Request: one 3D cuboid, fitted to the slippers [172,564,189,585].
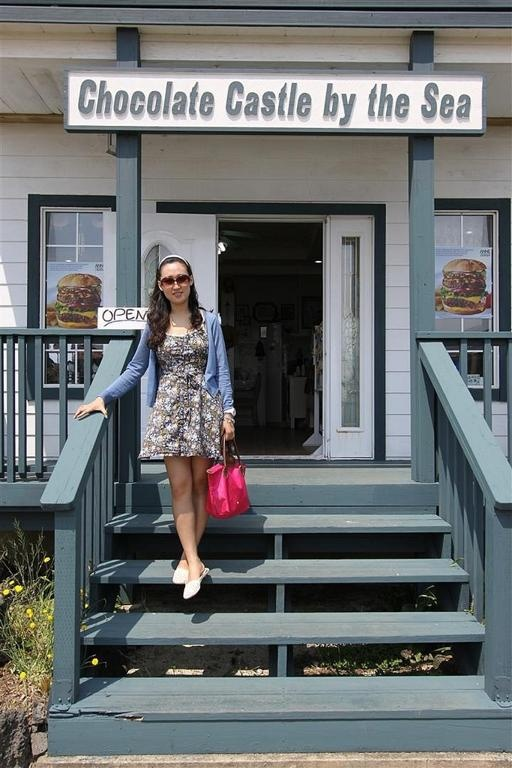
[{"bbox_3d":[-0.352,0.906,4.149,0.056,0.046,0.110,1,8,-5],"label":"slippers"}]

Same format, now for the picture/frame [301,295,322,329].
[{"bbox_3d":[0.856,-1.066,13.254,0.269,0.494,0.438,-2,3,-21],"label":"picture/frame"}]

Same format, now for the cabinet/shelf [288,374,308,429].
[{"bbox_3d":[0.541,0.246,11.319,0.230,0.660,0.626,-1,5,-2],"label":"cabinet/shelf"}]

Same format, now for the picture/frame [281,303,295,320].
[{"bbox_3d":[0.484,-1.078,13.419,0.237,0.334,0.031,1,-4,-1],"label":"picture/frame"}]

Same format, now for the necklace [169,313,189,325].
[{"bbox_3d":[-0.356,-0.294,4.152,0.058,0.061,0.015,-2,-2,-8],"label":"necklace"}]

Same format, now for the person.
[{"bbox_3d":[-0.515,0.190,4.319,0.690,1.691,0.651,0,7,-21],"label":"person"}]

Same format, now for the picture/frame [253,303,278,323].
[{"bbox_3d":[0.151,-1.072,13.462,0.280,0.290,0.032,0,-3,10],"label":"picture/frame"}]

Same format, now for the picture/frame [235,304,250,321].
[{"bbox_3d":[-0.204,-1.077,13.495,0.235,0.239,0.059,-2,-4,-14],"label":"picture/frame"}]

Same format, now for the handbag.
[{"bbox_3d":[-0.139,0.466,4.132,0.196,0.371,0.276,-1,3,-7],"label":"handbag"}]

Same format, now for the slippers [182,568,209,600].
[{"bbox_3d":[-0.277,0.940,4.132,0.070,0.061,0.221,-12,20,22],"label":"slippers"}]

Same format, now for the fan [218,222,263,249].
[{"bbox_3d":[-0.161,-1.653,9.654,0.487,0.138,0.556,-1,2,-12],"label":"fan"}]
